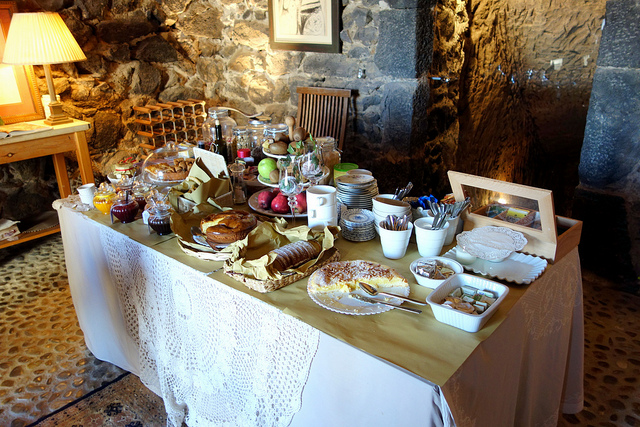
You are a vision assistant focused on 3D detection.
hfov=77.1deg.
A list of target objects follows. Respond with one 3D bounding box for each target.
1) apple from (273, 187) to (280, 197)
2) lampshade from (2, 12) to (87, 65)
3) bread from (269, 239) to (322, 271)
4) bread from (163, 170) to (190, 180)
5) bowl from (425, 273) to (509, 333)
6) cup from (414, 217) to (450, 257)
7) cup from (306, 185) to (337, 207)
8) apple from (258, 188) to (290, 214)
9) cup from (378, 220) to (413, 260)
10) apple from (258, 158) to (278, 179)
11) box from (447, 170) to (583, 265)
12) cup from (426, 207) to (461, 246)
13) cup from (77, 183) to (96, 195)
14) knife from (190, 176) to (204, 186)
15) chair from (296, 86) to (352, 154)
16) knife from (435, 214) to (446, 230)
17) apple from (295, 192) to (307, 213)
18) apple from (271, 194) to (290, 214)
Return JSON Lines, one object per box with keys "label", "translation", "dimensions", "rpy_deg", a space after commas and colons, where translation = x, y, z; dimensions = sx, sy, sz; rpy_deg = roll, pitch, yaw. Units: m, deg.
{"label": "apple", "translation": [-0.234, -0.115, 2.146], "dimensions": [0.040, 0.049, 0.040], "rpy_deg": [4, -5, -15]}
{"label": "lampshade", "translation": [-2.292, -1.430, 3.386], "dimensions": [0.495, 0.279, 0.506], "rpy_deg": [0, 23, 0]}
{"label": "bread", "translation": [-0.111, 0.174, 1.771], "dimensions": [0.193, 0.064, 0.100], "rpy_deg": [-22, 33, -39]}
{"label": "bread", "translation": [-0.813, -0.212, 2.251], "dimensions": [0.137, 0.039, 0.030], "rpy_deg": [-4, 21, -12]}
{"label": "bowl", "translation": [0.576, 0.350, 1.558], "dimensions": [0.274, 0.094, 0.226], "rpy_deg": [-23, 23, -39]}
{"label": "cup", "translation": [0.501, 0.094, 1.832], "dimensions": [0.165, 0.180, 0.145], "rpy_deg": [-18, 27, -40]}
{"label": "cup", "translation": [0.002, -0.082, 1.898], "dimensions": [0.091, 0.087, 0.123], "rpy_deg": [10, 30, 19]}
{"label": "apple", "translation": [-0.246, -0.058, 2.134], "dimensions": [0.206, 0.097, 0.114], "rpy_deg": [17, 25, 36]}
{"label": "cup", "translation": [0.329, 0.123, 1.883], "dimensions": [0.149, 0.157, 0.151], "rpy_deg": [3, 30, -1]}
{"label": "apple", "translation": [-0.290, -0.247, 2.242], "dimensions": [0.099, 0.106, 0.103], "rpy_deg": [-4, 21, -12]}
{"label": "box", "translation": [0.942, -0.028, 1.935], "dimensions": [0.403, 0.412, 0.502], "rpy_deg": [-22, 26, -26]}
{"label": "cup", "translation": [0.609, 0.065, 1.947], "dimensions": [0.151, 0.174, 0.167], "rpy_deg": [11, 30, 23]}
{"label": "cup", "translation": [-1.338, -0.136, 2.295], "dimensions": [0.110, 0.057, 0.071], "rpy_deg": [-3, 21, -11]}
{"label": "knife", "translation": [-0.650, -0.177, 2.111], "dimensions": [0.051, 0.012, 0.051], "rpy_deg": [36, 13, -24]}
{"label": "chair", "translation": [0.064, -0.894, 3.692], "dimensions": [0.309, 0.494, 0.673], "rpy_deg": [-14, 25, -35]}
{"label": "knife", "translation": [0.536, 0.040, 1.808], "dimensions": [0.018, 0.090, 0.028], "rpy_deg": [25, 2, -36]}
{"label": "apple", "translation": [-0.094, -0.053, 2.036], "dimensions": [0.080, 0.099, 0.084], "rpy_deg": [5, 11, 9]}
{"label": "apple", "translation": [-0.205, -0.047, 2.132], "dimensions": [0.086, 0.103, 0.090], "rpy_deg": [15, 9, 41]}
